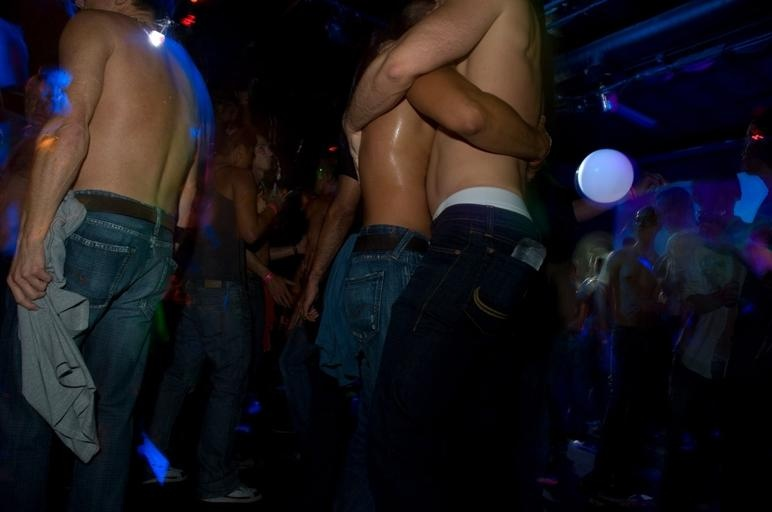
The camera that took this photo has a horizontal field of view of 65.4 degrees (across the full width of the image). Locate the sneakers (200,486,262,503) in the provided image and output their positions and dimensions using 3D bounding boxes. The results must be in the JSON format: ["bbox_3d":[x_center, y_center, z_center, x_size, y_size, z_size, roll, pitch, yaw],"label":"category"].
[{"bbox_3d":[-1.184,1.833,4.604,0.439,0.171,0.149,-1,-7,-4],"label":"sneakers"}]
